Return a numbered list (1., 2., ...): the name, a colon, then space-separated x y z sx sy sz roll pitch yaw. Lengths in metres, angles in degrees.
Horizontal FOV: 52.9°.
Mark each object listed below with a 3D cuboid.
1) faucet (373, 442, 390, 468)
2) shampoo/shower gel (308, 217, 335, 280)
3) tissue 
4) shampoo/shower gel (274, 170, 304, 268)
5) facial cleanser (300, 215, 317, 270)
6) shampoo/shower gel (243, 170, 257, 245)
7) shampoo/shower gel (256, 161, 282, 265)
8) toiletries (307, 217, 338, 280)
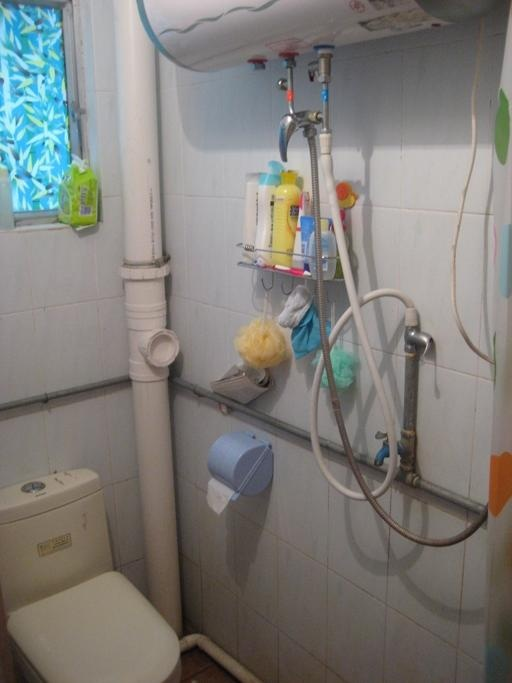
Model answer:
1. faucet: 0.289 0.254 1.181 0.031 0.073 0.094 4 10 15
2. shampoo/shower gel: 0.144 -0.190 1.128 0.058 0.046 0.152 -3 61 12
3. tissue : -0.046 0.404 1.578 0.185 0.230 0.151 -3 10 -34
4. shampoo/shower gel: 0.073 -0.294 1.245 0.070 0.230 0.115 3 8 5
5. facial cleanser: 0.115 -0.221 1.136 0.033 0.033 0.156 -2 64 10
6. shampoo/shower gel: -0.016 -0.329 1.347 0.021 0.168 0.057 -5 11 -42
7. shampoo/shower gel: 0.033 -0.308 1.314 0.041 0.269 0.063 -19 30 -38
8. toiletries: 0.144 -0.214 1.122 0.060 0.146 0.056 4 46 13
